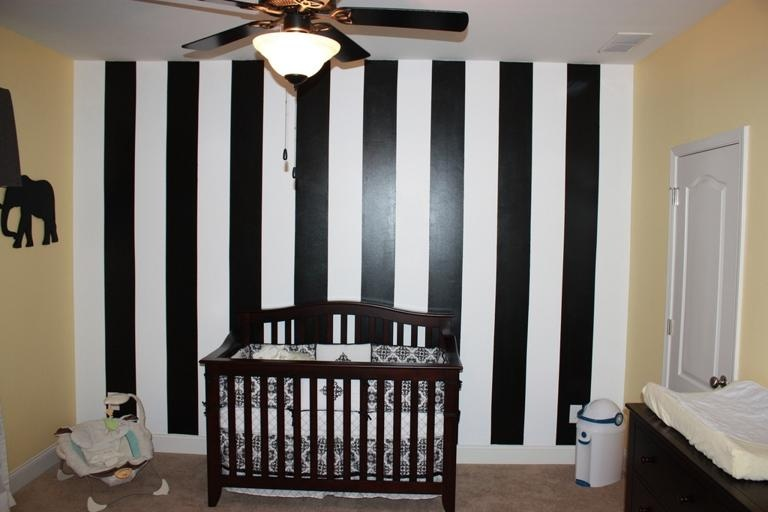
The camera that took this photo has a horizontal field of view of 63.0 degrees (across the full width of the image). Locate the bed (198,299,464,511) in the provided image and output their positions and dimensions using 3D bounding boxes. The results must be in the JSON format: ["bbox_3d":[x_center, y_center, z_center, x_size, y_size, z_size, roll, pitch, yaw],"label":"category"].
[{"bbox_3d":[-0.319,0.995,4.346,1.712,1.294,0.760,-1,4,3],"label":"bed"}]

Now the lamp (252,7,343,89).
[{"bbox_3d":[-0.455,-1.053,3.232,0.421,0.402,0.434,2,-1,-28],"label":"lamp"}]
